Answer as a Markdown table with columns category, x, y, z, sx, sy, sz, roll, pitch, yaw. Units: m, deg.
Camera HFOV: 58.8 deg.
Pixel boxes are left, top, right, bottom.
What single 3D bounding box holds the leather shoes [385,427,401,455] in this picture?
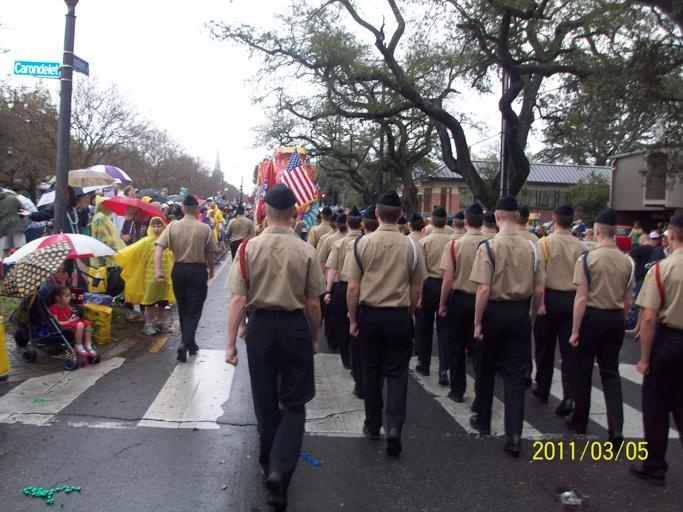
| category | x | y | z | sx | sy | sz | roll | pitch | yaw |
| --- | --- | --- | --- | --- | --- | --- | --- | --- | --- |
| leather shoes | 0.516 | 1.888 | 6.159 | 0.118 | 0.296 | 0.129 | -1 | 28 | 6 |

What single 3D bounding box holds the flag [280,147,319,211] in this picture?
| category | x | y | z | sx | sy | sz | roll | pitch | yaw |
| --- | --- | --- | --- | --- | --- | --- | --- | --- | --- |
| flag | -1.030 | -1.784 | 15.237 | 0.903 | 2.319 | 0.707 | 0 | 5 | -18 |

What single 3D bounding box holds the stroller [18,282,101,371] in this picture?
| category | x | y | z | sx | sy | sz | roll | pitch | yaw |
| --- | --- | --- | --- | --- | --- | --- | --- | --- | --- |
| stroller | -3.902 | 0.982 | 8.352 | 0.792 | 1.356 | 0.734 | 2 | 3 | 1 |

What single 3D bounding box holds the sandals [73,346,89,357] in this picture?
| category | x | y | z | sx | sy | sz | roll | pitch | yaw |
| --- | --- | --- | --- | --- | --- | --- | --- | --- | --- |
| sandals | -3.545 | 1.287 | 8.230 | 0.250 | 0.104 | 0.093 | 31 | 30 | 31 |

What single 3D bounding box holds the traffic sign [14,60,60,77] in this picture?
| category | x | y | z | sx | sy | sz | roll | pitch | yaw |
| --- | --- | --- | --- | --- | --- | --- | --- | --- | --- |
| traffic sign | -4.721 | -2.900 | 9.393 | 0.617 | 0.250 | 0.588 | 9 | 12 | 31 |

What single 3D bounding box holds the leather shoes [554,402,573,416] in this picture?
| category | x | y | z | sx | sy | sz | roll | pitch | yaw |
| --- | --- | --- | --- | --- | --- | --- | --- | --- | --- |
| leather shoes | 2.679 | 1.840 | 7.289 | 0.096 | 0.180 | 0.244 | 8 | -1 | -3 |

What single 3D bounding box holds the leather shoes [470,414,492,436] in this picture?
| category | x | y | z | sx | sy | sz | roll | pitch | yaw |
| --- | --- | --- | --- | --- | --- | --- | --- | --- | --- |
| leather shoes | 1.571 | 1.877 | 6.821 | 0.112 | 0.131 | 0.293 | -2 | 20 | -18 |

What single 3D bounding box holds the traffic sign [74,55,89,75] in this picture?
| category | x | y | z | sx | sy | sz | roll | pitch | yaw |
| --- | --- | --- | --- | --- | --- | --- | --- | --- | --- |
| traffic sign | -4.283 | -3.123 | 9.961 | 0.198 | 0.248 | 0.571 | -1 | 11 | -19 |
